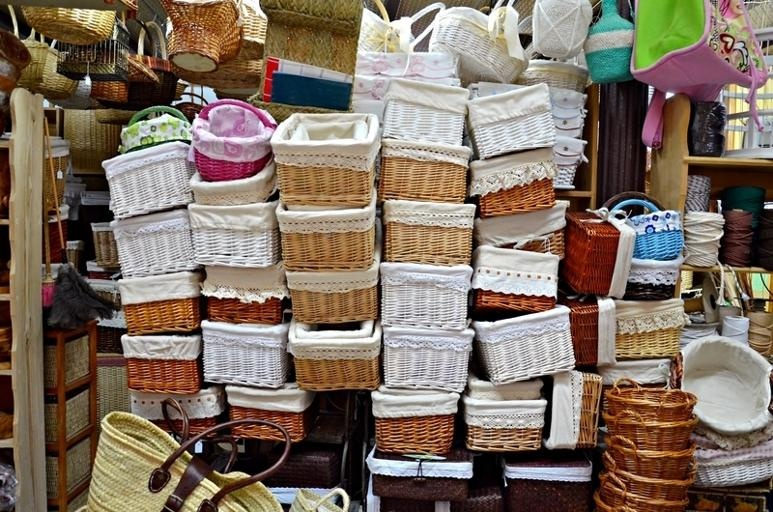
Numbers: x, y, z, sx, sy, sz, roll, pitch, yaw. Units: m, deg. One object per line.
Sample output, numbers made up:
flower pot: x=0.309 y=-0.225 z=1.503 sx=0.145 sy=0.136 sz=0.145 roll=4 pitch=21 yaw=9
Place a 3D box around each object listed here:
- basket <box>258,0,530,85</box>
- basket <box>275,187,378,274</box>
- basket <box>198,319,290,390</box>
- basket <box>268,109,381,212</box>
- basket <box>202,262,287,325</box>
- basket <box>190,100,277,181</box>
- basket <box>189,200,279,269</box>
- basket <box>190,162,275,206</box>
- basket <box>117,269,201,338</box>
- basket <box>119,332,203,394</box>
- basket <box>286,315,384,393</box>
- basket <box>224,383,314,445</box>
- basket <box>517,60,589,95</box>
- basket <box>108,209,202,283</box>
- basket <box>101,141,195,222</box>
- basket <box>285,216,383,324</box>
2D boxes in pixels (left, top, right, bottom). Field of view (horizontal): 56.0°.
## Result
basket: x=0.268 y=-1.277 z=4.336 sx=1.036 sy=0.352 sz=0.724 roll=5 pitch=7 yaw=1
basket: x=-0.407 y=-0.118 z=4.095 sx=0.655 sy=0.293 sz=0.464 roll=1 pitch=11 yaw=-35
basket: x=-0.791 y=0.548 z=4.063 sx=0.434 sy=0.270 sz=0.410 roll=2 pitch=2 yaw=-4
basket: x=-0.455 y=-0.422 z=4.052 sx=0.596 sy=0.332 sz=0.488 roll=-2 pitch=-4 yaw=-35
basket: x=-0.906 y=0.255 z=4.209 sx=0.531 sy=0.322 sz=0.474 roll=4 pitch=-8 yaw=-25
basket: x=-0.849 y=-0.668 z=4.129 sx=0.457 sy=0.362 sz=0.496 roll=4 pitch=24 yaw=-1
basket: x=-0.780 y=-0.095 z=4.182 sx=0.608 sy=0.354 sz=0.451 roll=1 pitch=-4 yaw=28
basket: x=-0.900 y=-0.360 z=4.162 sx=0.342 sy=0.126 sz=0.444 roll=1 pitch=8 yaw=-3
basket: x=-1.262 y=0.262 z=4.077 sx=0.394 sy=0.270 sz=0.376 roll=-4 pitch=8 yaw=-5
basket: x=-1.259 y=0.611 z=4.093 sx=0.383 sy=0.241 sz=0.372 roll=1 pitch=2 yaw=-7
basket: x=-0.283 y=0.547 z=4.044 sx=0.483 sy=0.285 sz=0.364 roll=-1 pitch=18 yaw=1
basket: x=-0.664 y=0.909 z=4.361 sx=0.491 sy=0.332 sz=0.608 roll=2 pitch=-3 yaw=8
basket: x=1.056 y=-1.065 z=4.523 sx=0.316 sy=0.116 sz=0.266 roll=3 pitch=7 yaw=-8
basket: x=-1.307 y=-0.060 z=4.071 sx=0.435 sy=0.265 sz=0.417 roll=-7 pitch=4 yaw=-13
basket: x=-1.291 y=-0.455 z=4.209 sx=0.573 sy=0.347 sz=0.419 roll=-4 pitch=17 yaw=-11
basket: x=-0.301 y=0.069 z=3.961 sx=0.488 sy=0.261 sz=0.675 roll=-2 pitch=13 yaw=-1
